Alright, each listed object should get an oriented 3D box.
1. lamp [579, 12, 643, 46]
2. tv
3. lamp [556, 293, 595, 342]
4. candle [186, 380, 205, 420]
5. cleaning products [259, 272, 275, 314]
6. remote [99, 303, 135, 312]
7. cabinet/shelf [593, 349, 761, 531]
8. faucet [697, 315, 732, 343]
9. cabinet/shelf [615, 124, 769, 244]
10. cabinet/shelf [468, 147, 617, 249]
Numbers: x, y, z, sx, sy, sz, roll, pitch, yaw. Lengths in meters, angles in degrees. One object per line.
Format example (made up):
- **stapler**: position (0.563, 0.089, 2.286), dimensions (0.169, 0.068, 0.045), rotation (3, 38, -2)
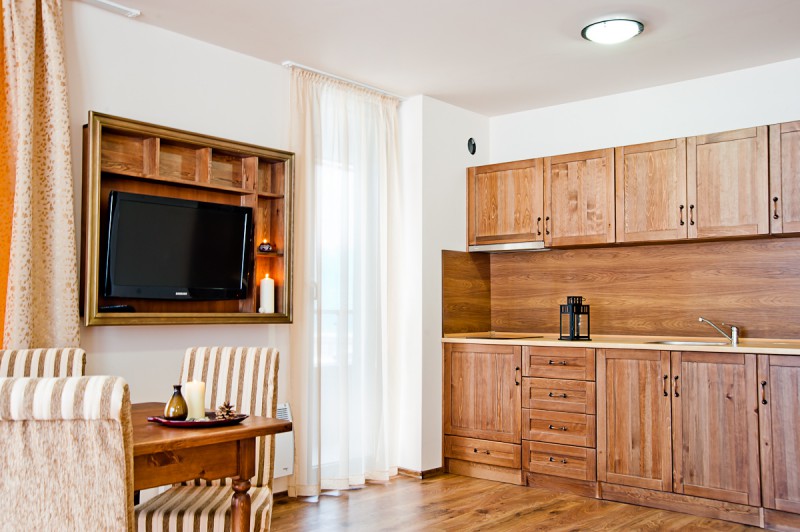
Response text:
- **lamp**: position (1.472, -1.622, 4.038), dimensions (0.419, 0.073, 0.281), rotation (-1, -3, 11)
- **tv**: position (-1.539, -0.118, 4.088), dimensions (0.118, 0.697, 1.098), rotation (1, -2, 39)
- **lamp**: position (1.538, 0.441, 5.121), dimensions (0.282, 0.379, 0.617), rotation (-1, -3, 14)
- **candle**: position (-0.969, 0.617, 2.759), dimensions (0.110, 0.165, 0.101), rotation (-9, -25, 10)
- **cleaning products**: position (-1.014, 0.195, 4.456), dimensions (0.155, 0.289, 0.146), rotation (1, -4, 14)
- **remote**: position (-1.821, 0.269, 3.751), dimensions (0.200, 0.041, 0.053), rotation (1, -3, -29)
- **cabinet/shelf**: position (2.043, 1.245, 4.204), dimensions (1.267, 1.083, 0.522), rotation (-4, -9, 32)
- **faucet**: position (2.523, 0.493, 4.668), dimensions (0.218, 0.201, 0.219), rotation (-1, -3, 17)
- **cabinet/shelf**: position (2.414, -0.617, 4.731), dimensions (0.420, 0.795, 1.193), rotation (-2, 2, -40)
- **cabinet/shelf**: position (1.411, -0.590, 5.391), dimensions (1.459, 0.761, 0.500), rotation (1, 4, 41)
